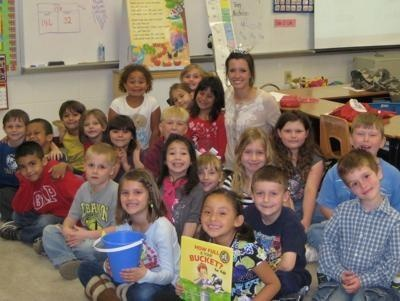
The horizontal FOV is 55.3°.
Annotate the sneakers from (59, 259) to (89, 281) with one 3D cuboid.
[{"bbox_3d":[-0.840,0.761,2.447,0.197,0.123,0.085,0,8,18],"label":"sneakers"}]

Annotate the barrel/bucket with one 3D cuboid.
[{"bbox_3d":[-0.406,0.501,1.976,0.273,0.243,0.279,0,-2,0],"label":"barrel/bucket"}]

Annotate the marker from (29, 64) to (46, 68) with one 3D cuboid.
[{"bbox_3d":[-1.809,-0.956,4.303,0.159,0.046,0.059,-5,8,-22],"label":"marker"}]

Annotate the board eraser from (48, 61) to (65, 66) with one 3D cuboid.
[{"bbox_3d":[-1.627,-1.003,4.397,0.183,0.054,0.050,-4,8,-20],"label":"board eraser"}]

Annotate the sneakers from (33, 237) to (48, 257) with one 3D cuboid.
[{"bbox_3d":[-1.098,0.674,2.671,0.064,0.155,0.225,-7,9,-31],"label":"sneakers"}]
